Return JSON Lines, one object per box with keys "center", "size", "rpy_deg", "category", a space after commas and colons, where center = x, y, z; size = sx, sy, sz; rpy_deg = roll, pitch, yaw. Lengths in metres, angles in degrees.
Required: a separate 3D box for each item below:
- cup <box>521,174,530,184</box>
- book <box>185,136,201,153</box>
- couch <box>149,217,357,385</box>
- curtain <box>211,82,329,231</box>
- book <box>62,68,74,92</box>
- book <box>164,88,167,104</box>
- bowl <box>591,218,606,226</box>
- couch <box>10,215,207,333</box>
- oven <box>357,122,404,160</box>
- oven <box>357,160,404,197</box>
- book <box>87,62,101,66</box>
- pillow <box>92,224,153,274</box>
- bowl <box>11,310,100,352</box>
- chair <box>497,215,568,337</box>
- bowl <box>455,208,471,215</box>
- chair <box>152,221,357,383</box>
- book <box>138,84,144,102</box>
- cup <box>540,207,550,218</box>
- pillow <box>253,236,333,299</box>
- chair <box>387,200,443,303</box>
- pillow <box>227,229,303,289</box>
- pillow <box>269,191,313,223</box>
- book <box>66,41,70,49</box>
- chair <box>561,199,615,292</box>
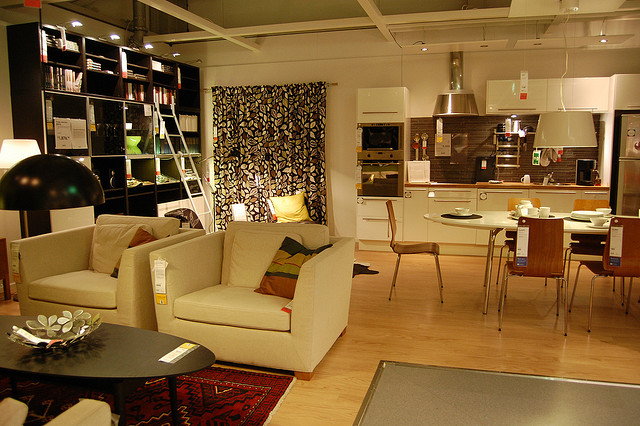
{"center": [3.326, -0.547, 7.197], "size": [0.108, 0.136, 0.280], "rpy_deg": [4, 13, 23], "category": "cup"}
{"center": [-2.432, -1.353, 8.679], "size": [0.303, 0.392, 0.398], "rpy_deg": [-6, 13, -12], "category": "book"}
{"center": [-0.625, 0.773, 4.426], "size": [1.631, 1.164, 1.237], "rpy_deg": [2, 6, 16], "category": "couch"}
{"center": [-0.811, -1.109, 7.993], "size": [2.868, 3.525, 0.233], "rpy_deg": [1, 4, 15], "category": "curtain"}
{"center": [-3.404, -1.804, 6.020], "size": [0.097, 0.290, 0.241], "rpy_deg": [-2, 12, -2], "category": "book"}
{"center": [-2.717, -2.063, 7.860], "size": [0.051, 0.263, 0.141], "rpy_deg": [-4, 13, -13], "category": "book"}
{"center": [2.948, 0.093, 4.723], "size": [0.091, 0.045, 0.090], "rpy_deg": [0, -3, 0], "category": "bowl"}
{"center": [-2.207, 0.647, 4.812], "size": [1.600, 1.099, 1.162], "rpy_deg": [2, 6, 19], "category": "couch"}
{"center": [1.111, -1.198, 7.544], "size": [0.848, 0.685, 0.496], "rpy_deg": [5, 10, 34], "category": "oven"}
{"center": [0.921, -0.566, 7.670], "size": [0.918, 0.631, 0.609], "rpy_deg": [0, 0, -20], "category": "oven"}
{"center": [-3.293, -2.178, 6.492], "size": [0.168, 0.043, 0.178], "rpy_deg": [7, 8, 23], "category": "book"}
{"center": [-2.145, 0.430, 4.953], "size": [0.565, 0.554, 0.175], "rpy_deg": [-1, -24, 21], "category": "pillow"}
{"center": [-2.084, 0.880, 3.441], "size": [0.652, 0.201, 0.675], "rpy_deg": [1, -6, 0], "category": "bowl"}
{"center": [2.329, 0.558, 4.828], "size": [0.690, 1.209, 1.051], "rpy_deg": [4, 13, 22], "category": "chair"}
{"center": [1.740, -0.019, 5.451], "size": [0.124, 0.058, 0.126], "rpy_deg": [-1, -1, 0], "category": "bowl"}
{"center": [-0.588, 0.761, 4.498], "size": [1.636, 1.138, 1.576], "rpy_deg": [5, 8, 22], "category": "chair"}
{"center": [-2.934, -1.991, 7.345], "size": [0.091, 0.273, 0.249], "rpy_deg": [-6, 13, -20], "category": "book"}
{"center": [2.432, -0.007, 4.862], "size": [0.080, 0.088, 0.122], "rpy_deg": [0, -1, -9], "category": "cup"}
{"center": [-0.291, 0.522, 4.228], "size": [0.551, 0.534, 0.170], "rpy_deg": [14, -19, 34], "category": "pillow"}
{"center": [1.213, 0.472, 5.694], "size": [0.738, 1.126, 0.642], "rpy_deg": [2, 0, 17], "category": "chair"}
{"center": [-0.614, 0.500, 4.510], "size": [0.648, 0.568, 0.156], "rpy_deg": [3, -9, 28], "category": "pillow"}
{"center": [-0.525, -0.100, 7.807], "size": [0.689, 0.440, 0.554], "rpy_deg": [-3, 12, -9], "category": "pillow"}
{"center": [-3.387, -2.277, 5.998], "size": [0.034, 0.119, 0.286], "rpy_deg": [-7, 13, -25], "category": "book"}
{"center": [3.339, 0.398, 5.489], "size": [0.674, 1.125, 0.729], "rpy_deg": [2, 2, 19], "category": "chair"}
